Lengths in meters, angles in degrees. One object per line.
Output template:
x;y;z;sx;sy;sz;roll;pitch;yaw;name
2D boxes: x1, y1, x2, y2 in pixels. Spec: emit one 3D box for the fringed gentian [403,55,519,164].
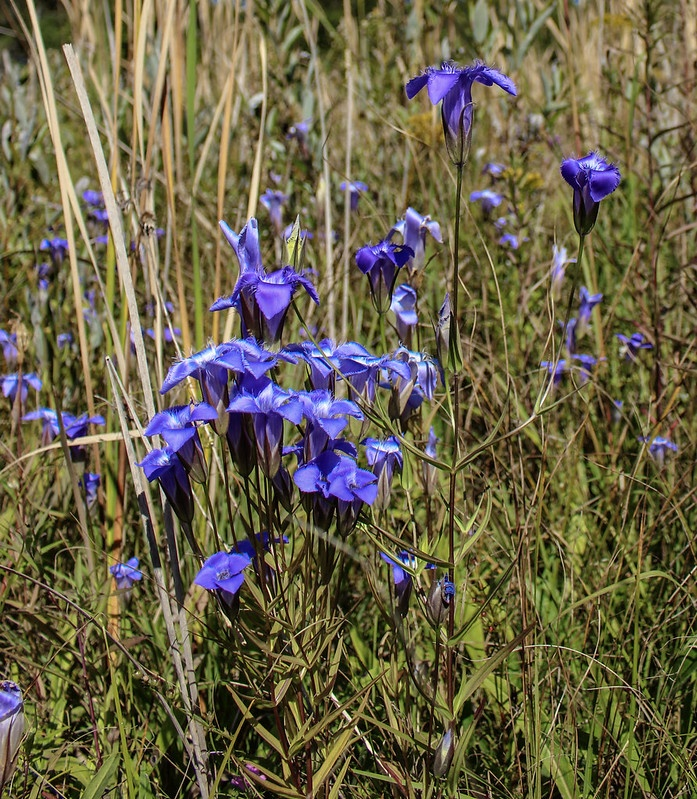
0.244;-0.614;2.184;0.142;0.222;0.144;-4;5;-35;fringed gentian
